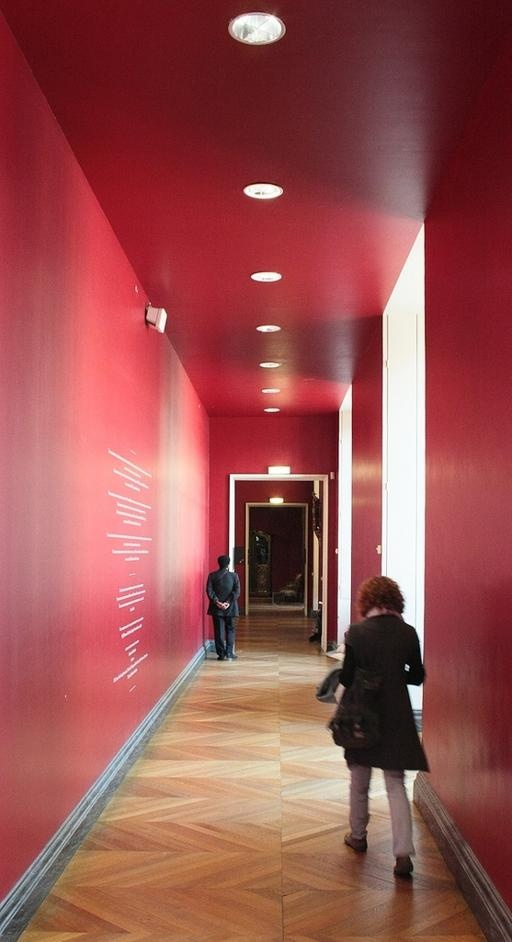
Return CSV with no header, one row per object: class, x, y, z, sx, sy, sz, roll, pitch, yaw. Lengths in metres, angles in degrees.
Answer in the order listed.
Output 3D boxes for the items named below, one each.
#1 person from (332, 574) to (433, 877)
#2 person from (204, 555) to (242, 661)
person,0.545,1.091,2.899,0.404,1.247,0.458,-2,-9,18
person,-0.491,1.919,9.234,0.416,1.439,0.845,1,-9,-4
